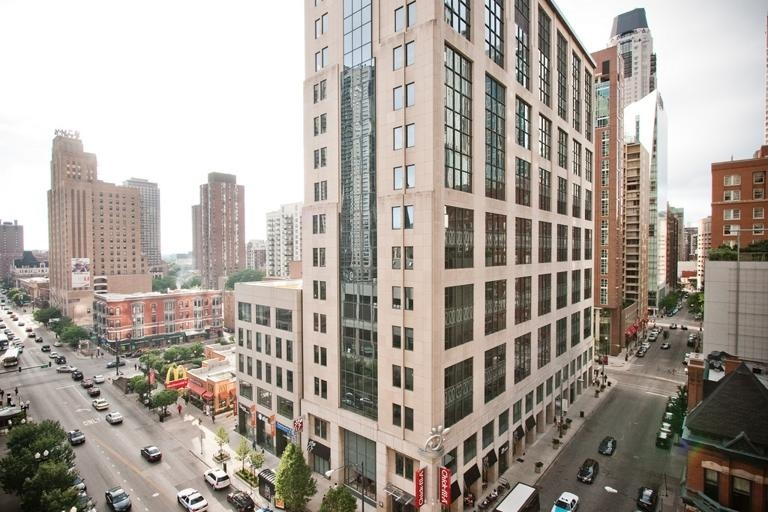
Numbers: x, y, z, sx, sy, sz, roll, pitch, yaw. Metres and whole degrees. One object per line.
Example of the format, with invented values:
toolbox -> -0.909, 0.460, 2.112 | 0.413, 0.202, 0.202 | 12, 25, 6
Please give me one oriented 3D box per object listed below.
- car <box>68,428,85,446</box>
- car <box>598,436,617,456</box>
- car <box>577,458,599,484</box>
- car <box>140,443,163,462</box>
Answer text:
car -> -62.592, 37.111, 117.435 | 2.959, 3.376, 3.374 | -5, 1, -31
car -> 43.224, 37.128, 112.123 | 3.954, 1.932, 2.233 | -5, 1, -38
car -> 37.500, 40.111, 106.605 | 4.170, 2.599, 2.083 | -5, 1, -31
car -> -45.415, 38.953, 112.949 | 3.958, 3.157, 2.168 | -3, 1, 24
